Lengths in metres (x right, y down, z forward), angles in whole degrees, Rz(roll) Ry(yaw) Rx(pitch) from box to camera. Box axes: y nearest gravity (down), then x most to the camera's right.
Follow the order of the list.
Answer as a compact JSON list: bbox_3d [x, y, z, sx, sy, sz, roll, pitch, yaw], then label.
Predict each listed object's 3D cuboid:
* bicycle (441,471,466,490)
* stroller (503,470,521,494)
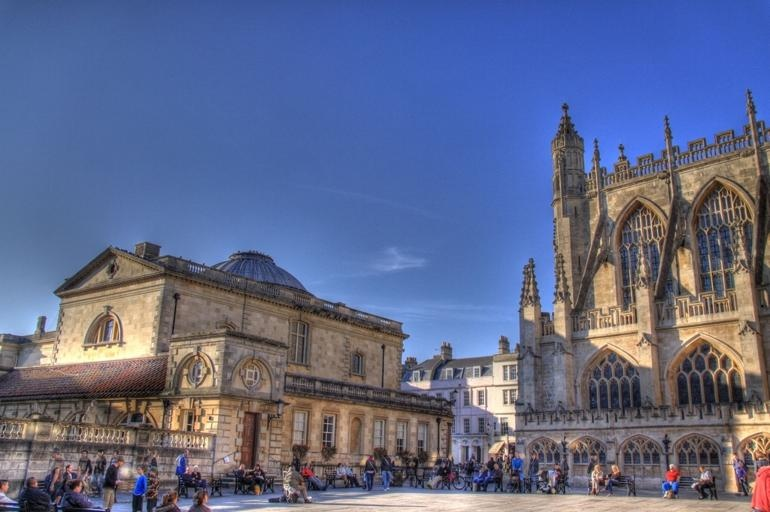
[{"bbox_3d":[4.640,14.733,41.191,1.474,1.235,2.502,-6,-32,10],"label":"bicycle"},{"bbox_3d":[7.832,14.126,38.844,0.928,1.912,1.185,-4,15,14],"label":"stroller"}]
